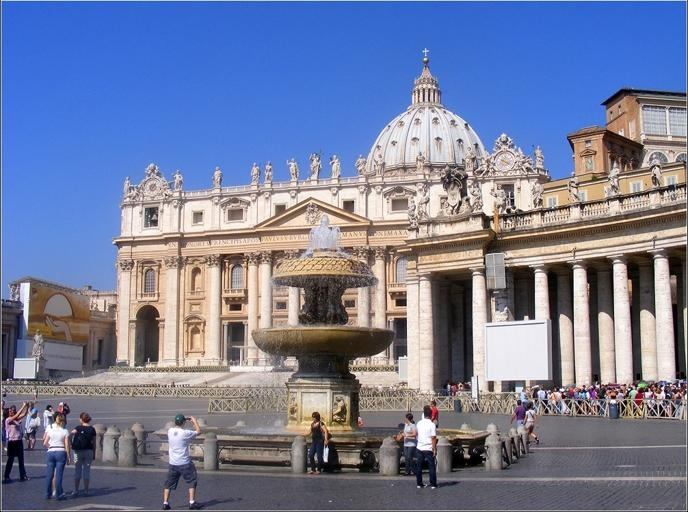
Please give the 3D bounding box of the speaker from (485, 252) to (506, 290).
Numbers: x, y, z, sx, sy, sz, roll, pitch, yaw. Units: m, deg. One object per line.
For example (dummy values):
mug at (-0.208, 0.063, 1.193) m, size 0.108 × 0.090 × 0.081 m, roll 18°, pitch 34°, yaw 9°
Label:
speaker at (6.165, 0.653, 39.910) m, size 0.846 × 1.464 × 0.566 m, roll -5°, pitch -12°, yaw 24°

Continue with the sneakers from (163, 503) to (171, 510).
sneakers at (-3.558, 5.015, 19.371) m, size 0.160 × 0.132 × 0.279 m, roll 3°, pitch -11°, yaw -11°

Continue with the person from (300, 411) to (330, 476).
person at (-0.641, 4.468, 23.125) m, size 0.507 × 1.427 × 1.014 m, roll 1°, pitch -11°, yaw -1°

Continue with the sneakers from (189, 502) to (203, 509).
sneakers at (-2.986, 5.017, 19.442) m, size 0.252 × 0.109 × 0.117 m, roll 0°, pitch -2°, yaw -20°
